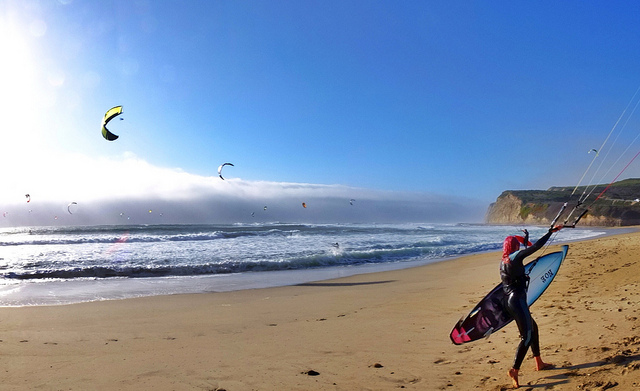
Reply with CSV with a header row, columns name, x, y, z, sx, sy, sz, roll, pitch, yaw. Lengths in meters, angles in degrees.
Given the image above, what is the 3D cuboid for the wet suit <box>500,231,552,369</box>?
name,x,y,z,sx,sy,sz,roll,pitch,yaw
wet suit,3.770,1.905,7.064,0.815,2.513,0.673,-2,-2,33

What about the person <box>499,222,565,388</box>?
name,x,y,z,sx,sy,sz,roll,pitch,yaw
person,3.781,2.037,7.051,0.813,2.796,0.677,-1,-2,14

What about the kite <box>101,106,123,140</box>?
name,x,y,z,sx,sy,sz,roll,pitch,yaw
kite,-7.463,-2.572,13.829,0.567,1.318,1.602,0,-2,-30
